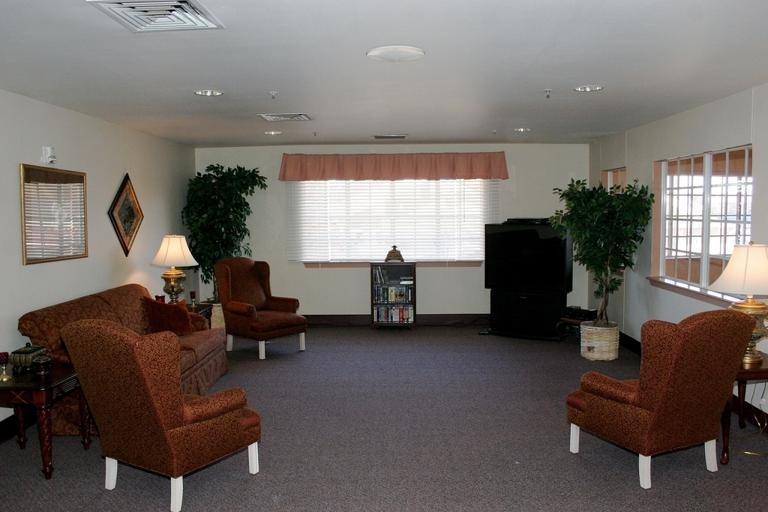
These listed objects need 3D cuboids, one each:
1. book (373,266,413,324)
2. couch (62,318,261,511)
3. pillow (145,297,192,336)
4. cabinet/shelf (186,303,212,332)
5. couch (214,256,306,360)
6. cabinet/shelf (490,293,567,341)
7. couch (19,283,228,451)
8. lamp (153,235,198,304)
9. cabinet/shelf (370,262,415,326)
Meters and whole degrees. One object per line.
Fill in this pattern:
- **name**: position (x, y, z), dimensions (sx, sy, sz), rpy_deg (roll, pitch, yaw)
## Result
- **book**: position (0.142, 0.690, 8.942), dimensions (0.862, 1.188, 0.623), rpy_deg (-1, -5, -1)
- **couch**: position (-1.829, 1.162, 4.647), dimensions (1.248, 1.705, 1.530), rpy_deg (1, 2, 31)
- **pillow**: position (-2.553, 0.724, 6.283), dimensions (0.430, 0.412, 0.163), rpy_deg (-2, -6, -23)
- **cabinet/shelf**: position (-2.469, 0.889, 7.074), dimensions (0.351, 0.432, 0.451), rpy_deg (-2, 8, -10)
- **couch**: position (-1.834, 0.703, 7.879), dimensions (1.177, 1.303, 1.048), rpy_deg (5, 6, 42)
- **cabinet/shelf**: position (2.341, 0.735, 8.517), dimensions (1.091, 0.776, 0.677), rpy_deg (1, -2, 28)
- **couch**: position (-2.720, 1.067, 5.923), dimensions (1.392, 1.316, 2.361), rpy_deg (-5, 1, 4)
- **lamp**: position (-2.832, 0.169, 7.186), dimensions (0.619, 0.909, 0.644), rpy_deg (3, 4, 41)
- **cabinet/shelf**: position (0.149, 0.653, 8.936), dimensions (0.991, 1.363, 0.523), rpy_deg (-1, -4, -1)
